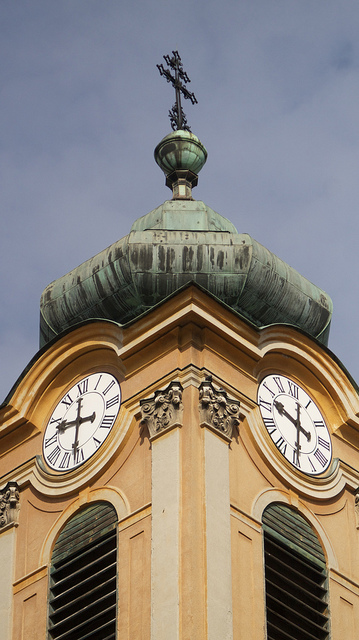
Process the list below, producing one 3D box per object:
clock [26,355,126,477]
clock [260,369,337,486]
[{"bbox_3d":[-1.396,1.420,28.145,0.127,1.933,1.707,37,-46,-27],"label":"clock"},{"bbox_3d":[1.714,1.486,28.242,0.285,1.890,1.574,-29,-45,36],"label":"clock"}]
